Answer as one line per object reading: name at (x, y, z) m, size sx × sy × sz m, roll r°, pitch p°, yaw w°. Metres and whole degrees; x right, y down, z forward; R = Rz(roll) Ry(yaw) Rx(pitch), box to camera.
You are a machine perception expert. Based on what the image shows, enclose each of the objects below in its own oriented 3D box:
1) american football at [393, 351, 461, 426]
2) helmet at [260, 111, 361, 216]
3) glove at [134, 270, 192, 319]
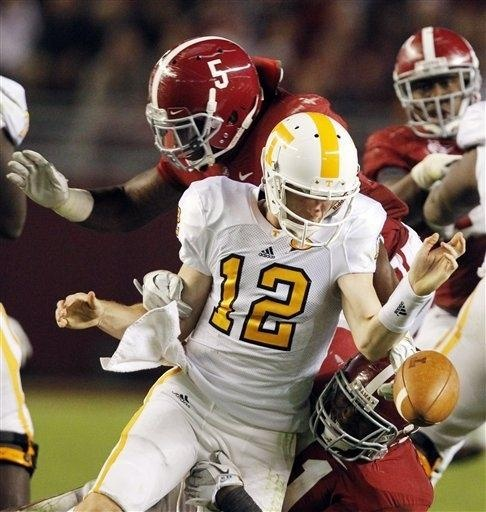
american football at (0.443, 0.356, 2.067) m, size 0.211 × 0.189 × 0.205 m, roll 9°, pitch 75°, yaw 0°
helmet at (0.131, -0.261, 2.144) m, size 0.255 × 0.252 × 0.291 m, roll 3°, pitch 43°, yaw -6°
glove at (-0.236, 0.104, 2.281) m, size 0.137 × 0.140 × 0.073 m, roll -10°, pitch 6°, yaw 4°
